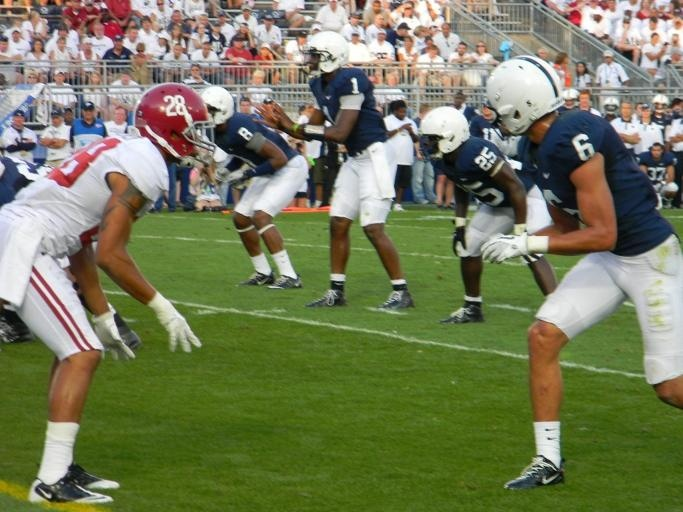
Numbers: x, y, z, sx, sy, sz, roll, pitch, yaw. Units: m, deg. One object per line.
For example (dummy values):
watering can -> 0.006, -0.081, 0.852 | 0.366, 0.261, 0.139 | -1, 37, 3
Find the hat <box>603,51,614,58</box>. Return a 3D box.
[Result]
hat -> 4.973, -3.781, 19.239 | 0.176, 0.074, 0.247 | 2, 15, 12

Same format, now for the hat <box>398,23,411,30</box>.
hat -> 1.151, -4.328, 19.370 | 0.195, 0.071, 0.212 | -4, 6, -43

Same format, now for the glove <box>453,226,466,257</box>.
glove -> 0.926, -0.115, 8.088 | 0.120, 0.191, 0.158 | 7, 8, 5

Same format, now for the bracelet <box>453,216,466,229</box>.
bracelet -> 0.940, -0.269, 8.130 | 0.091, 0.057, 0.082 | 0, 1, -4

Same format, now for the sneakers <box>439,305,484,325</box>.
sneakers -> 0.994, 0.459, 8.218 | 0.420, 0.148, 0.129 | 1, -4, -12

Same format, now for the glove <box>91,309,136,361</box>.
glove -> -1.249, 0.424, 5.603 | 0.317, 0.181, 0.088 | 40, 31, 8

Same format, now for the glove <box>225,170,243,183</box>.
glove -> -0.983, -0.742, 9.526 | 0.138, 0.037, 0.094 | -10, -1, 20

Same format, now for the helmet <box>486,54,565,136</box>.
helmet -> 1.014, -0.912, 5.784 | 0.475, 0.392, 0.412 | 24, 29, 30

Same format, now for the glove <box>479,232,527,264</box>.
glove -> 0.876, -0.049, 5.573 | 0.239, 0.130, 0.092 | -19, 0, 16

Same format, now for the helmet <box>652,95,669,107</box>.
helmet -> 5.459, -2.700, 17.665 | 0.264, 0.148, 0.314 | 2, 3, 10

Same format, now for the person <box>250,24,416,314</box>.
person -> 0.014, -0.734, 8.701 | 1.237, 2.281, 0.791 | 1, 13, 1

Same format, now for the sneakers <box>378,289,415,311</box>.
sneakers -> 0.477, 0.358, 8.686 | 0.210, 0.176, 0.381 | 8, 14, 29

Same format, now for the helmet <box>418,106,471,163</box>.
helmet -> 0.783, -0.945, 7.899 | 0.405, 0.394, 0.277 | 5, 14, 19

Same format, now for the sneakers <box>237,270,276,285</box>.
sneakers -> -0.785, 0.219, 9.703 | 0.370, 0.130, 0.114 | 1, 0, -14

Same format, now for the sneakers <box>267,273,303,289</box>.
sneakers -> -0.498, 0.247, 9.543 | 0.374, 0.130, 0.113 | 1, 0, -11

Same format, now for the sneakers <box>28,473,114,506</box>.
sneakers -> -1.352, 1.183, 5.211 | 0.458, 0.142, 0.139 | 1, -4, -8

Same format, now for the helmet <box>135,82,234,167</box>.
helmet -> -0.873, -0.723, 5.599 | 0.513, 0.368, 0.356 | 5, 19, -13

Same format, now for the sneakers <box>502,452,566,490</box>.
sneakers -> 1.037, 1.150, 5.503 | 0.396, 0.151, 0.131 | -2, -1, -16

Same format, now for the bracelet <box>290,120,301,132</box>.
bracelet -> -0.381, -1.108, 8.750 | 0.083, 0.079, 0.250 | 19, 5, -1

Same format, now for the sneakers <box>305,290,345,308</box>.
sneakers -> -0.156, 0.365, 8.642 | 0.362, 0.127, 0.129 | 2, 0, -8

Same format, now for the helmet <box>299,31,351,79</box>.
helmet -> -0.137, -1.717, 8.711 | 0.437, 0.299, 0.328 | -3, 17, -5
